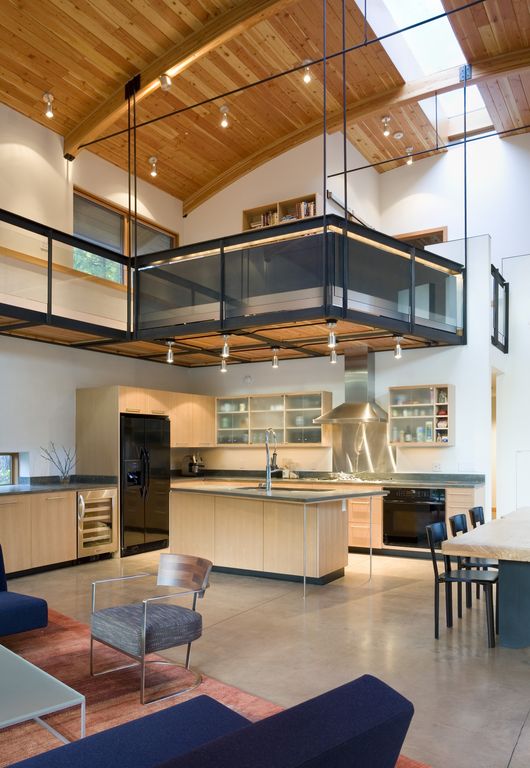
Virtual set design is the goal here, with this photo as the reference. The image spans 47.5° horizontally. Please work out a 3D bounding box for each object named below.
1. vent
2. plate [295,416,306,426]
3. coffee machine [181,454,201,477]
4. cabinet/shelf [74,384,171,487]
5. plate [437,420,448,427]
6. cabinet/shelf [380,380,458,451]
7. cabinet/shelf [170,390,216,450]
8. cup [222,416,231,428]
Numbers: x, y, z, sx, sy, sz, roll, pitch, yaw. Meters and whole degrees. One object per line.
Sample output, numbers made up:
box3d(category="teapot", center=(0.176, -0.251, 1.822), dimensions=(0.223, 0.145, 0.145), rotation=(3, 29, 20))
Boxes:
box3d(category="vent", center=(1.384, 0.084, 8.637), dimensions=(1.123, 1.126, 1.201), rotation=(7, -13, -15))
box3d(category="plate", center=(0.559, 0.550, 9.057), dimensions=(0.132, 0.179, 0.148), rotation=(2, 2, 28))
box3d(category="coffee machine", center=(-1.205, 1.349, 9.863), dimensions=(0.319, 0.387, 0.247), rotation=(-2, -5, 17))
box3d(category="cabinet/shelf", center=(-1.887, 0.621, 8.669), dimensions=(0.881, 1.740, 1.684), rotation=(-4, -6, 24))
box3d(category="plate", center=(2.379, 0.532, 8.010), dimensions=(0.095, 0.101, 0.028), rotation=(-1, -19, 40))
box3d(category="cabinet/shelf", center=(2.150, 0.436, 8.163), dimensions=(0.850, 0.887, 0.263), rotation=(-2, -5, 31))
box3d(category="cabinet/shelf", center=(-1.109, 0.584, 9.322), dimensions=(0.283, 0.781, 0.848), rotation=(-1, -4, 28))
box3d(category="cup", center=(-0.612, 0.628, 9.792), dimensions=(0.157, 0.199, 0.163), rotation=(1, 0, 0))
